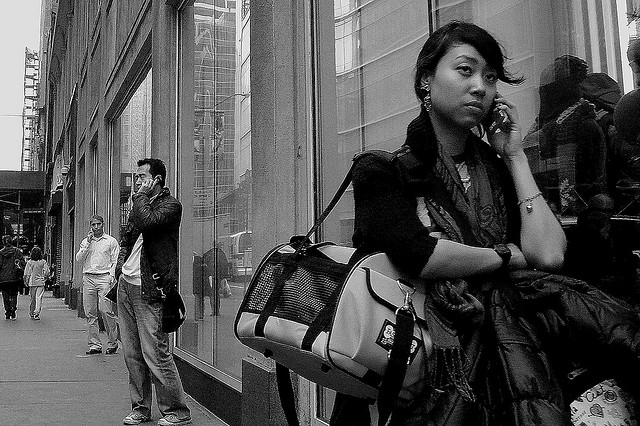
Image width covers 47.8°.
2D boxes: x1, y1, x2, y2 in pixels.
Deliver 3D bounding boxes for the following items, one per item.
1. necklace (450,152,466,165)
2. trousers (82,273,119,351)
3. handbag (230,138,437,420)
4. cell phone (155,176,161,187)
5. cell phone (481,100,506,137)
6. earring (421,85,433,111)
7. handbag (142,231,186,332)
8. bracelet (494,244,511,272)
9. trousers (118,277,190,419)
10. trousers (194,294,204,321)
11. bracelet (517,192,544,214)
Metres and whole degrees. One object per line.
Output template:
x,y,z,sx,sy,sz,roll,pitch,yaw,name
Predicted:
0.669,-0.269,3.498,0.055,0.038,0.053,0,-1,-6,necklace
-3.619,1.624,11.898,0.526,1.296,1.225,0,-3,-16,trousers
0.071,0.434,3.372,0.896,0.982,0.420,-3,-3,41,handbag
-1.607,-0.326,7.106,0.022,0.091,0.094,13,-45,-12,cell phone
0.865,-0.473,3.615,0.154,0.054,0.114,-45,-4,25,cell phone
0.514,-0.565,3.509,0.048,0.128,0.027,-3,-3,34,earring
-1.471,0.626,6.746,0.385,0.927,0.186,-1,-2,-6,handbag
0.832,0.200,3.318,0.081,0.124,0.032,-1,-2,-10,bracelet
-1.623,1.302,6.977,0.667,1.398,0.428,-3,-3,40,trousers
-1.475,1.128,8.762,0.081,0.294,0.471,0,-3,-14,trousers
0.995,-0.054,3.481,0.088,0.105,0.027,4,0,-9,bracelet
